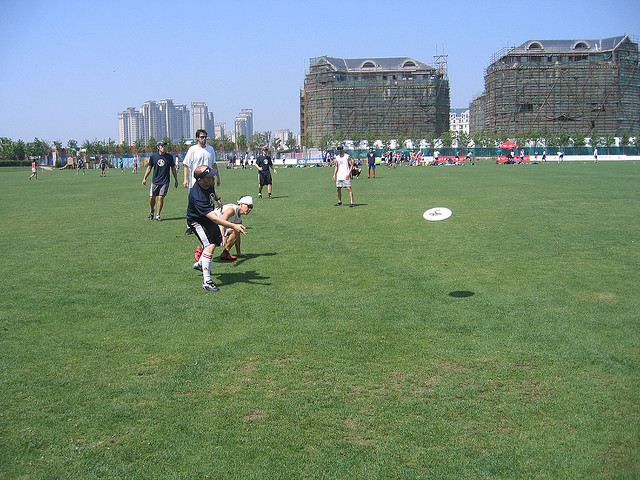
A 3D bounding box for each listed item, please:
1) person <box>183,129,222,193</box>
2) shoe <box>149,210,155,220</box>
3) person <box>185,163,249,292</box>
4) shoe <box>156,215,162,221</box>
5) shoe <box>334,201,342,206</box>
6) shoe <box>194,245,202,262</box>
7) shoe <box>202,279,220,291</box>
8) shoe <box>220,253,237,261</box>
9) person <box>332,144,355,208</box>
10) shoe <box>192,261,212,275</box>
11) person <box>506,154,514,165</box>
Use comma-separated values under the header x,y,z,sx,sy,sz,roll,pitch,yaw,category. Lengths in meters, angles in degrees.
x,y,z,sx,sy,sz,roll,pitch,yaw,category
-2.732,-1.472,13.390,0.940,2.023,0.524,-6,29,-31,person
-4.858,-0.746,16.769,0.116,0.158,0.362,5,19,-12,shoe
-1.816,-0.273,10.001,0.887,2.058,1.551,-2,13,-19,person
-4.574,-0.632,16.495,0.157,0.159,0.363,-5,8,-14,shoe
0.620,-1.245,19.737,0.255,0.136,0.504,-3,8,4,shoe
-2.192,0.251,10.433,0.115,0.290,0.100,-9,-13,28,shoe
-1.768,0.733,9.406,0.284,0.139,0.138,5,7,39,shoe
-1.815,0.335,11.455,0.250,0.106,0.129,0,5,9,shoe
0.782,-2.099,19.199,0.590,2.008,0.550,-1,5,20,person
-2.106,0.468,10.124,0.335,0.166,0.124,6,6,28,shoe
21.522,-9.106,65.770,0.620,1.087,2.192,0,8,19,person
